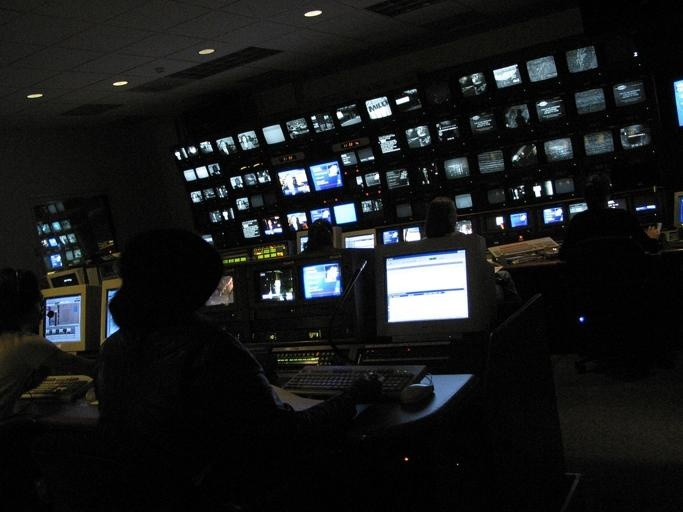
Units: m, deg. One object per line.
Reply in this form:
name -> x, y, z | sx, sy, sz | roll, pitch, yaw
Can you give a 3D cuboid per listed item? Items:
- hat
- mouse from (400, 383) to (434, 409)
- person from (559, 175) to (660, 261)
hat -> -0.587, 0.077, 1.995 | 0.388, 0.341, 0.275 | -1, 13, -26
mouse -> 0.290, 0.521, 2.166 | 0.141, 0.059, 0.103 | -9, 7, -3
person -> 1.995, -0.192, 4.399 | 0.686, 0.831, 0.521 | -3, -11, 31
